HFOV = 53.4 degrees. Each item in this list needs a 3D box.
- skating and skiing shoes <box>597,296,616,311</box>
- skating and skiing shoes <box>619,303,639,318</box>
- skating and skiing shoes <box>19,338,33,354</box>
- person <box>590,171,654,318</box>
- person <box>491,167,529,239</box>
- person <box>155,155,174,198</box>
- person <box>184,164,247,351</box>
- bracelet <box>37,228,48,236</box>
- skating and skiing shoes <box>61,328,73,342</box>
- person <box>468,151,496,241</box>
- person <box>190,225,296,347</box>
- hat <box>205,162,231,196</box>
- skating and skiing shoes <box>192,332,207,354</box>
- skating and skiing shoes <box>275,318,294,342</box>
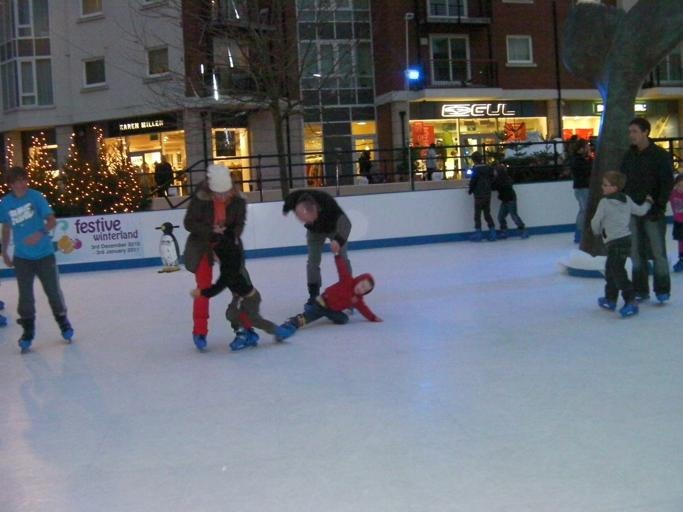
[{"bbox_3d":[3.092,0.566,7.963,0.068,0.118,0.193,-8,14,-23],"label":"skating and skiing shoes"},{"bbox_3d":[3.180,0.601,7.529,0.217,0.220,0.127,-1,2,-19],"label":"skating and skiing shoes"},{"bbox_3d":[-3.495,1.006,7.596,0.146,0.163,0.156,6,-7,-3],"label":"skating and skiing shoes"},{"bbox_3d":[3.133,-0.144,7.661,0.586,1.616,0.658,1,10,24],"label":"person"},{"bbox_3d":[4.134,-1.352,16.660,0.766,1.783,0.596,1,10,24],"label":"person"},{"bbox_3d":[-5.223,-2.336,19.981,0.515,1.190,2.851,-5,9,-15],"label":"person"},{"bbox_3d":[-1.318,0.030,7.014,0.681,1.927,0.548,-3,9,2],"label":"person"},{"bbox_3d":[-3.242,-0.269,7.403,0.065,0.065,0.202,-3,9,-2],"label":"bracelet"},{"bbox_3d":[-3.191,0.928,7.910,0.129,0.149,0.166,2,-12,-16],"label":"skating and skiing shoes"},{"bbox_3d":[3.419,-1.472,16.591,0.638,2.116,0.781,0,10,19],"label":"person"},{"bbox_3d":[-1.021,0.340,7.106,1.041,1.331,0.451,-5,17,-10],"label":"person"},{"bbox_3d":[-1.207,-0.761,6.740,0.258,0.286,0.233,-5,9,-10],"label":"hat"},{"bbox_3d":[-1.468,0.920,7.115,0.082,0.114,0.249,0,14,-16],"label":"skating and skiing shoes"},{"bbox_3d":[-0.597,0.806,7.377,0.159,0.211,0.374,12,-7,25],"label":"skating and skiing shoes"}]
